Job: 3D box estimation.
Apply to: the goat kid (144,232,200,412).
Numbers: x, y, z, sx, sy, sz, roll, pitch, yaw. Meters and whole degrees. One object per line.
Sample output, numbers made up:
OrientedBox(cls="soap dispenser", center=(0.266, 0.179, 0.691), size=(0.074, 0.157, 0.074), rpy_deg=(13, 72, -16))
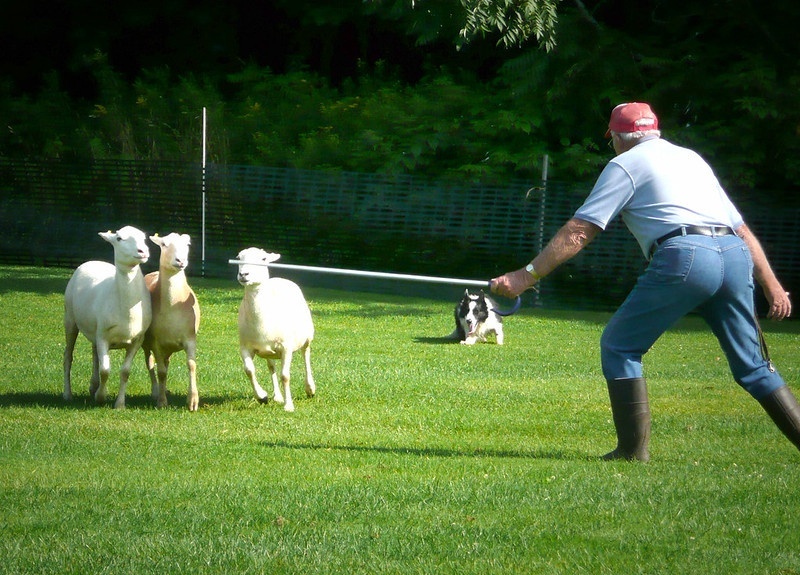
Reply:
OrientedBox(cls="goat kid", center=(-3.090, 0.427, 19.869), size=(0.794, 2.483, 0.870), rpy_deg=(0, 12, -10))

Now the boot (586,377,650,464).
OrientedBox(cls="boot", center=(2.738, 1.531, 17.333), size=(0.980, 1.235, 0.540), rpy_deg=(3, 3, 16))

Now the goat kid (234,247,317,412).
OrientedBox(cls="goat kid", center=(-1.720, 0.446, 19.765), size=(1.104, 2.122, 1.135), rpy_deg=(1, 13, -11))

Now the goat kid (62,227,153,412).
OrientedBox(cls="goat kid", center=(-3.919, 0.444, 20.221), size=(1.108, 2.443, 3.001), rpy_deg=(0, 0, -28))
